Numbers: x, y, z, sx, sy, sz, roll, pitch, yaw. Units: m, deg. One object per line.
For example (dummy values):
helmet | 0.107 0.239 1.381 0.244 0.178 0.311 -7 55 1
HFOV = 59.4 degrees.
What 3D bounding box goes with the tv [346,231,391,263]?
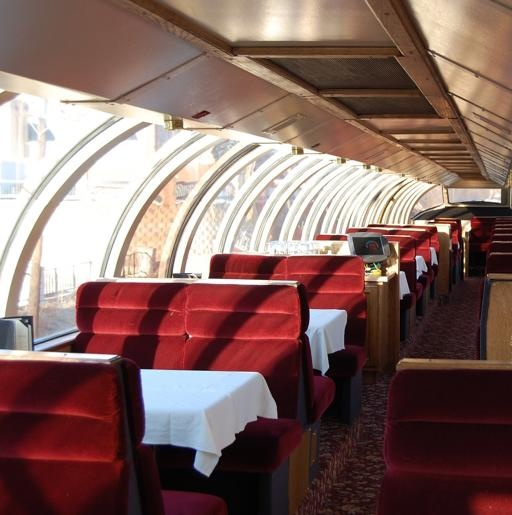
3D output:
tv | 1.613 -0.147 6.392 0.592 0.468 0.143 1 -21 14
